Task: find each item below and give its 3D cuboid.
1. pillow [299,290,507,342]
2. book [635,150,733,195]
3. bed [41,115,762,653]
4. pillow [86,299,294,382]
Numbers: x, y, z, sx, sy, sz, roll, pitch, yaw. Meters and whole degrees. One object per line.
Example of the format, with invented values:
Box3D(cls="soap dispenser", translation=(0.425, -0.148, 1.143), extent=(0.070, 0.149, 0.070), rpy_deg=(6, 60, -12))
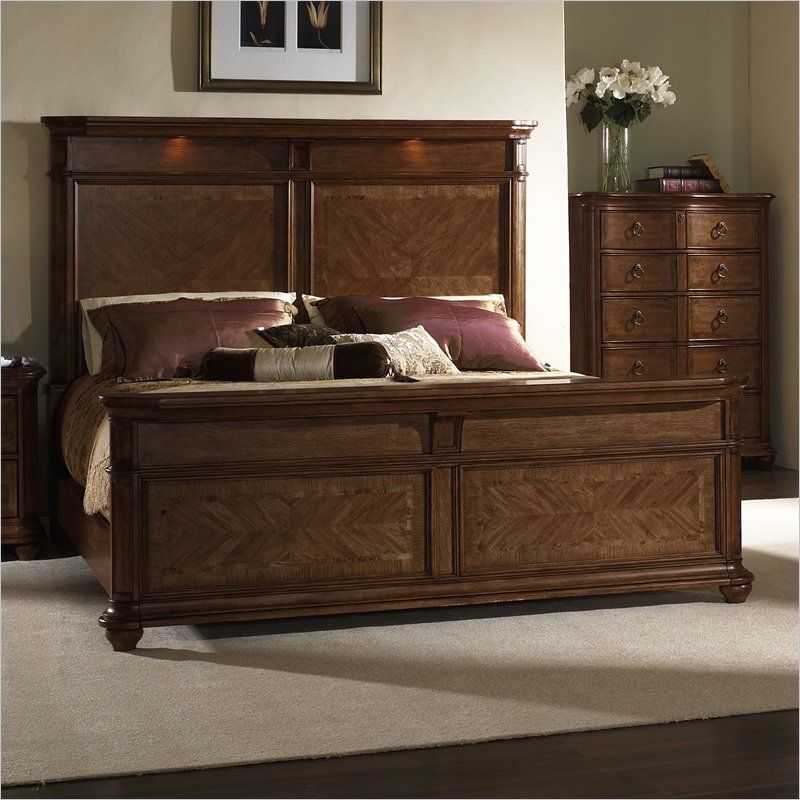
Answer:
Box3D(cls="pillow", translation=(0.191, -0.433, 4.222), extent=(0.745, 0.215, 0.103), rpy_deg=(-8, -1, -24))
Box3D(cls="book", translation=(1.624, -1.274, 5.159), extent=(0.361, 0.161, 0.342), rpy_deg=(-3, 8, -37))
Box3D(cls="bed", translation=(-0.298, -0.397, 3.523), extent=(2.521, 1.720, 2.298), rpy_deg=(-1, 2, -18))
Box3D(cls="pillow", translation=(-0.876, -0.299, 3.650), extent=(0.570, 0.145, 0.451), rpy_deg=(-7, 12, -24))
